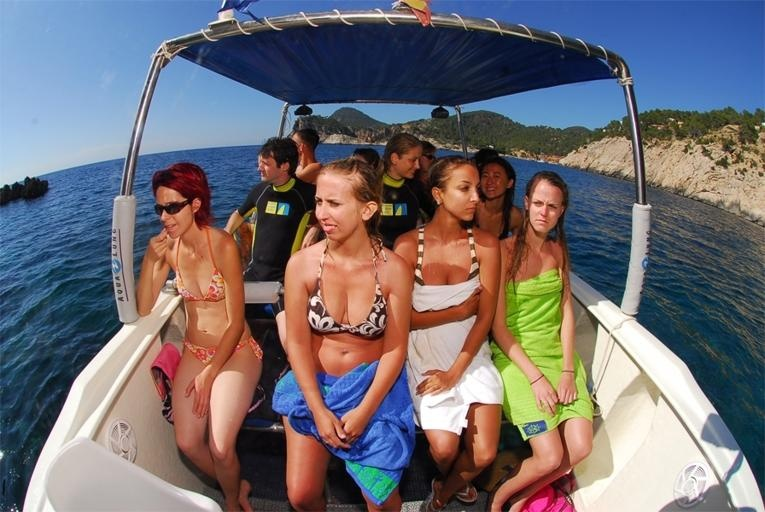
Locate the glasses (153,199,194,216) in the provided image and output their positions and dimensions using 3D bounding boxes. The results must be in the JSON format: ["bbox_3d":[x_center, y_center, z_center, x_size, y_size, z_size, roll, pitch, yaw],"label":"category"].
[{"bbox_3d":[-1.831,-0.428,3.412,0.341,0.141,0.116,2,12,5],"label":"glasses"}]

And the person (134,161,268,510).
[{"bbox_3d":[-1.549,0.694,3.448,0.908,2.957,1.147,-8,15,-34],"label":"person"}]
